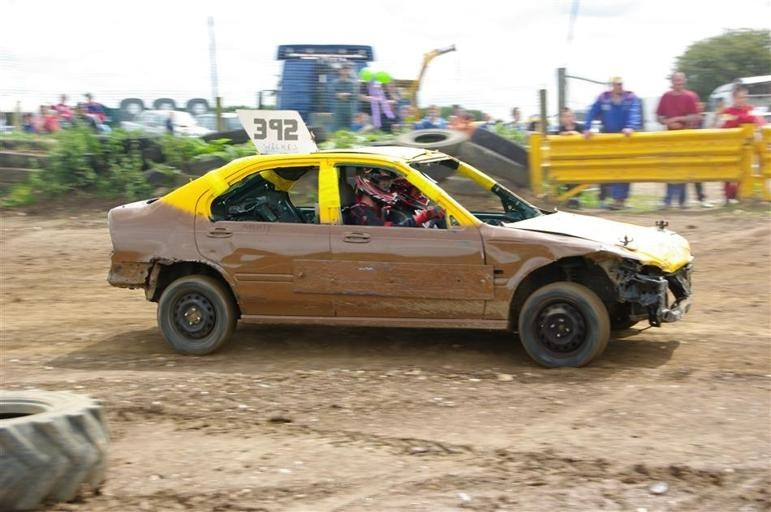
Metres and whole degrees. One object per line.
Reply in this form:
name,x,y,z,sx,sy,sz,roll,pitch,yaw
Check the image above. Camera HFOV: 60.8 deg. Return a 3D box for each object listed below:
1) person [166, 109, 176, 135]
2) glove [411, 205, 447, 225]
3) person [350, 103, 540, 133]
person,-5.600,-3.473,17.082,0.262,0.624,0.739,-5,14,-15
glove,0.494,-0.443,7.078,0.447,0.115,0.188,-8,40,-19
person,1.447,-3.308,15.959,4.532,0.571,0.965,1,12,8
